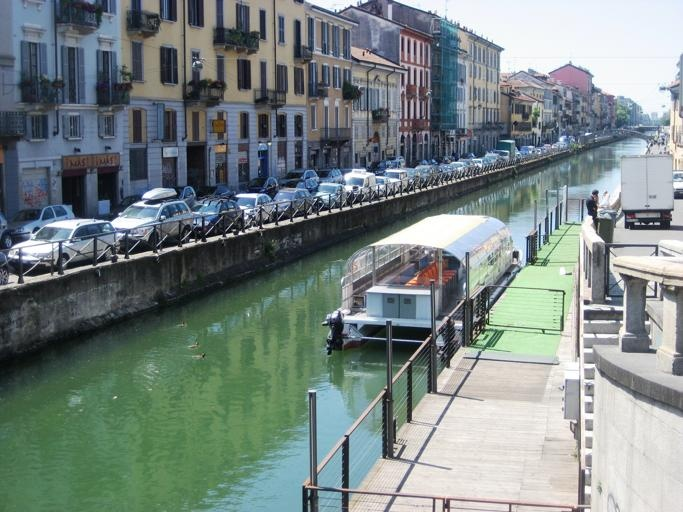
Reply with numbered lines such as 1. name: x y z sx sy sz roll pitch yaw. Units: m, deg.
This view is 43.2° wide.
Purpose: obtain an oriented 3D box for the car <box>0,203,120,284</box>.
1. car: -8.235 -0.277 25.511 2.788 1.270 4.653 -4 9 4

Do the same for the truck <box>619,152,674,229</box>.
1. truck: 10.916 -2.339 30.913 1.735 2.341 3.083 0 9 21

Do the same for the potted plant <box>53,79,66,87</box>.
1. potted plant: -12.136 -7.462 36.982 0.432 0.315 0.461 3 1 -1

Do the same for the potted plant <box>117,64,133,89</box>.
1. potted plant: -10.345 -8.579 41.202 0.663 1.154 1.560 -5 8 -13
